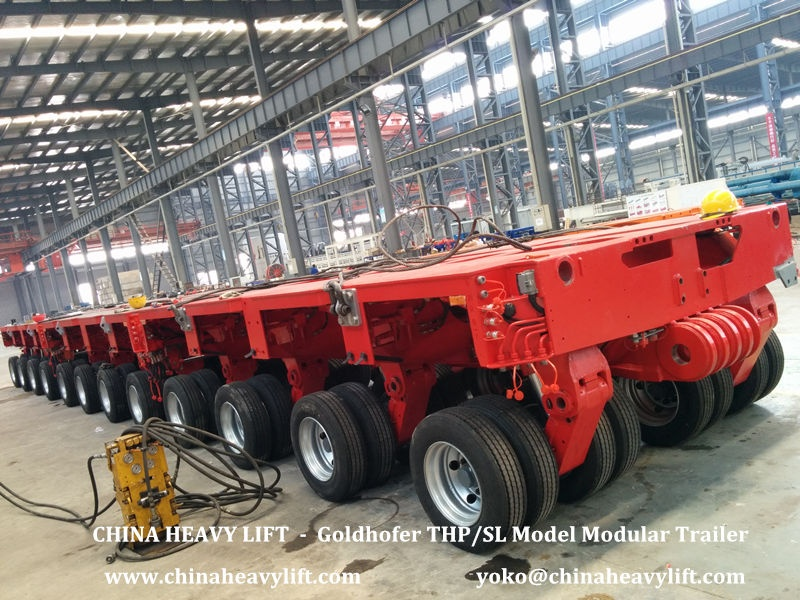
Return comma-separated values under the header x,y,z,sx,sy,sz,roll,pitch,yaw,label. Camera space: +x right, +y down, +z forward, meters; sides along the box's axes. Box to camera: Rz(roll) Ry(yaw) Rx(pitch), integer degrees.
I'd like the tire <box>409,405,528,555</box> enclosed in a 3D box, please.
x,y,z,sx,sy,sz,roll,pitch,yaw,label
0.520,1.286,4.191,0.422,1.023,1.108,-19,18,-41,tire

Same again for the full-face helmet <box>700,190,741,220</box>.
x,y,z,sx,sy,sz,roll,pitch,yaw,label
2.704,-0.798,4.915,0.324,0.143,0.243,-19,17,-31,full-face helmet

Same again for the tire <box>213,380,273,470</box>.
x,y,z,sx,sy,sz,roll,pitch,yaw,label
-1.711,1.394,6.574,0.408,0.921,1.057,-8,-1,-33,tire

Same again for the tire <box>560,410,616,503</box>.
x,y,z,sx,sy,sz,roll,pitch,yaw,label
1.432,1.248,4.563,0.518,0.466,0.308,-11,6,14,tire

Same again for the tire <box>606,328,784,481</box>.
x,y,z,sx,sy,sz,roll,pitch,yaw,label
2.747,0.925,5.828,1.781,0.937,1.077,-9,-5,-17,tire

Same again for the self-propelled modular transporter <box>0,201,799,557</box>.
x,y,z,sx,sy,sz,roll,pitch,yaw,label
-1.076,0.660,6.743,3.733,1.301,8.067,-9,3,-42,self-propelled modular transporter

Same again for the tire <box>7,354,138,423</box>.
x,y,z,sx,sy,sz,roll,pitch,yaw,label
-5.747,1.492,10.752,4.515,0.936,0.956,2,3,40,tire

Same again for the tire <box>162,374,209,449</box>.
x,y,z,sx,sy,sz,roll,pitch,yaw,label
-2.459,1.268,6.780,0.314,0.798,0.908,-11,21,-36,tire

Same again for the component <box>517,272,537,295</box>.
x,y,z,sx,sy,sz,roll,pitch,yaw,label
0.805,-0.107,3.712,0.116,0.113,0.065,-11,5,7,component

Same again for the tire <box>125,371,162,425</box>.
x,y,z,sx,sy,sz,roll,pitch,yaw,label
-3.554,1.330,8.164,0.299,0.762,0.857,-13,22,-31,tire
